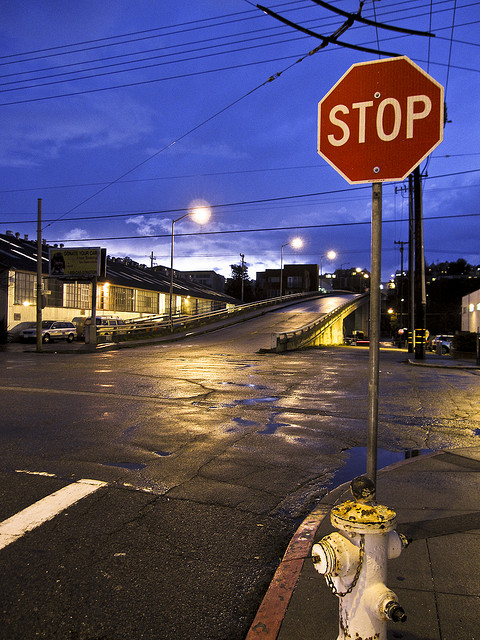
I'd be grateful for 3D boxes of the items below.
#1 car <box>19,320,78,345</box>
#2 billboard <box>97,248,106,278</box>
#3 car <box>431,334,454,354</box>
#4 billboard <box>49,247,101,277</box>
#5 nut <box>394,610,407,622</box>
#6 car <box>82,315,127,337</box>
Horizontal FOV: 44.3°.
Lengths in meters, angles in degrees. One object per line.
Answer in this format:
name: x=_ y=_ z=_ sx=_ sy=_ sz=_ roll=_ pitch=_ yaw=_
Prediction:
car: x=-11.974 y=0.813 z=37.686 sx=1.663 sy=1.486 sz=3.595 roll=-3 pitch=-4 yaw=35
billboard: x=-7.817 y=-3.209 z=33.674 sx=0.265 sy=1.490 sz=1.315 roll=1 pitch=0 yaw=-8
car: x=13.711 y=1.639 z=39.820 sx=2.185 sy=1.138 sz=1.317 roll=-4 pitch=2 yaw=8
billboard: x=-9.097 y=-3.225 z=32.951 sx=4.161 sy=2.338 sz=0.194 roll=3 pitch=5 yaw=21
nut: x=0.676 y=1.241 z=2.500 sx=0.048 sy=0.047 sz=0.074 roll=1 pitch=-5 yaw=9
car: x=-8.716 y=0.672 z=39.811 sx=1.814 sy=1.679 sz=2.960 roll=0 pitch=3 yaw=31
